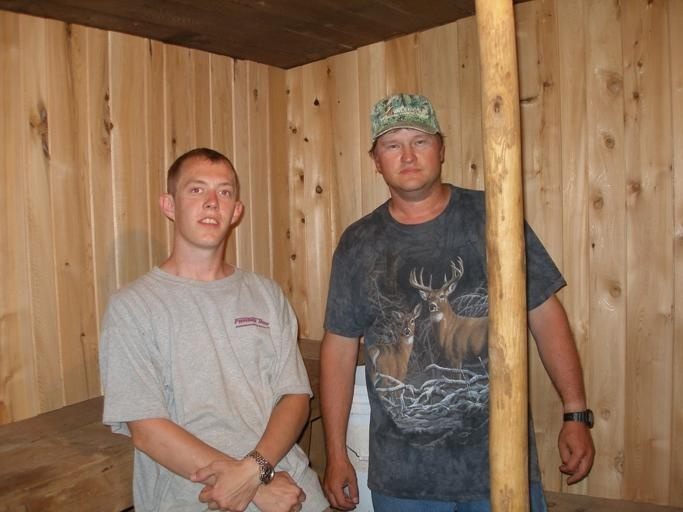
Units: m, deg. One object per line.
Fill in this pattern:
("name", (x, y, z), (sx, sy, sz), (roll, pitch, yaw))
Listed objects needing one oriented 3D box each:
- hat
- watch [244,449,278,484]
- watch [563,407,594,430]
("hat", (0.265, -0.542, 2.722), (0.365, 0.213, 0.511), (-5, 5, 8))
("watch", (-0.290, 0.752, 2.414), (0.060, 0.112, 0.086), (-41, -7, -15))
("watch", (0.903, 0.604, 2.549), (0.100, 0.066, 0.102), (7, -15, -29))
